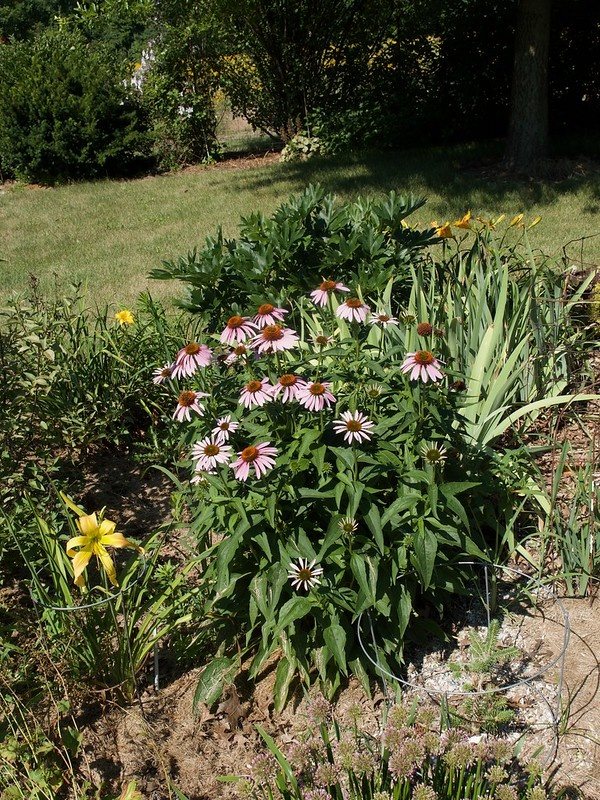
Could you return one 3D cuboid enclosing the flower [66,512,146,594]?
[{"bbox_3d":[-0.590,0.413,2.270,0.216,0.140,0.258,-21,33,-17],"label":"flower"}]
